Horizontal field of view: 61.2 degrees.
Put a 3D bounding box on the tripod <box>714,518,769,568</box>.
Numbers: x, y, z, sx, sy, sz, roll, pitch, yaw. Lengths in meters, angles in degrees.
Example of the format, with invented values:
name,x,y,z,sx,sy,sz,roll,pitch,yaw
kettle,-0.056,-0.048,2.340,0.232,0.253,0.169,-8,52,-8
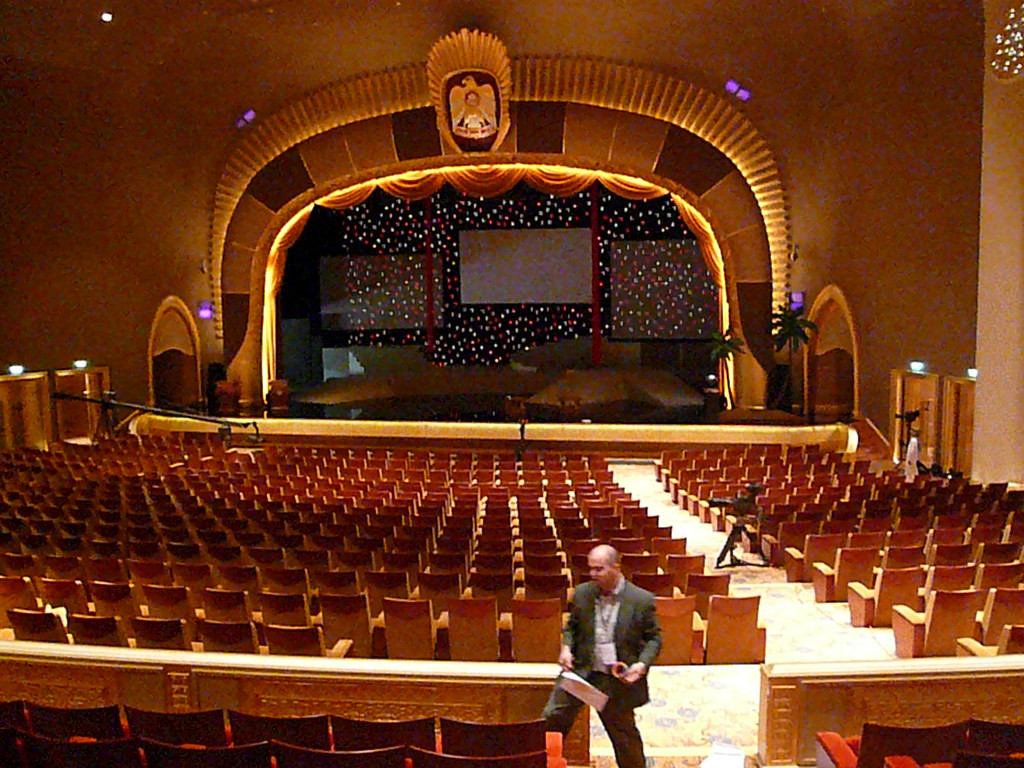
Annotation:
name,x,y,z,sx,sy,sz,roll,pitch,yaw
tripod,2.839,1.955,10.902,0.614,0.779,0.530,-4,8,-10
